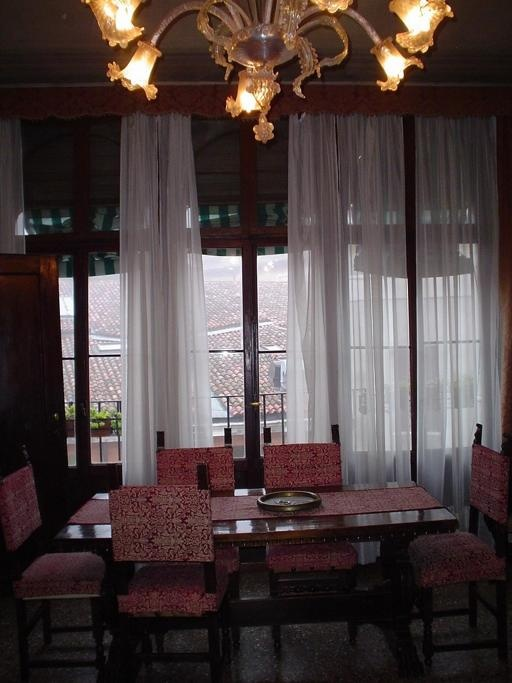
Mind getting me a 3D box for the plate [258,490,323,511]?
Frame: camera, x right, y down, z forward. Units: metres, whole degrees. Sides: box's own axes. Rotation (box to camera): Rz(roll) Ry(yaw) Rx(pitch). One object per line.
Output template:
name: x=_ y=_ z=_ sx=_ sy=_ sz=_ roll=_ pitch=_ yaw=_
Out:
plate: x=0.140 y=0.703 z=2.826 sx=0.265 sy=0.034 sz=0.267 roll=-2 pitch=1 yaw=-17
